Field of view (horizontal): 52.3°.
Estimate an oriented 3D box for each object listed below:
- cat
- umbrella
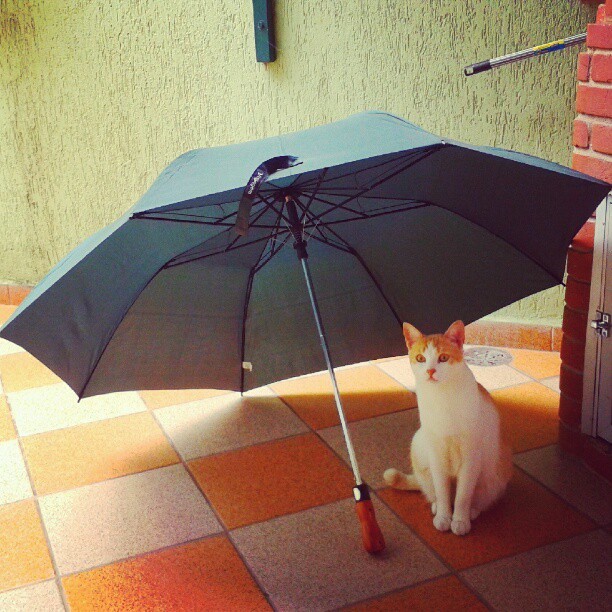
[{"bbox_3d":[0.458,0.374,2.121,0.272,0.729,0.379,-20,25,-41],"label":"cat"},{"bbox_3d":[0.008,-0.042,2.224,1.894,1.219,1.098,-3,18,-3],"label":"umbrella"}]
